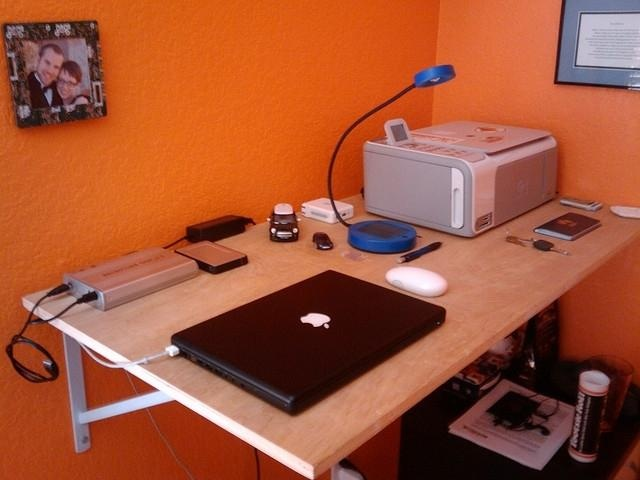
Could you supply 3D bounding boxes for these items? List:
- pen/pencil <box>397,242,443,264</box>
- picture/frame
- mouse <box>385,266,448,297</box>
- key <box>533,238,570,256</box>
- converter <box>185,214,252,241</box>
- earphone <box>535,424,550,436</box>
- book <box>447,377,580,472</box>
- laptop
[{"bbox_3d":[0.271,0.036,1.393,0.144,0.020,0.021,-16,46,-37],"label":"pen/pencil"},{"bbox_3d":[-0.609,-0.389,1.159,0.251,0.236,0.031,-14,22,-38],"label":"picture/frame"},{"bbox_3d":[0.233,0.088,1.211,0.103,0.026,0.074,16,24,41],"label":"mouse"},{"bbox_3d":[0.645,0.016,1.415,0.081,0.014,0.038,17,27,38],"label":"key"},{"bbox_3d":[-0.289,-0.034,1.522,0.060,0.056,0.256,16,23,37],"label":"converter"},{"bbox_3d":[0.706,0.600,1.608,0.017,0.011,0.028,-27,41,-25],"label":"earphone"},{"bbox_3d":[0.640,0.567,1.648,0.313,0.324,0.038,19,28,9],"label":"book"},{"bbox_3d":[0.001,0.181,1.012,0.252,0.046,0.351,15,24,42],"label":"laptop"}]
